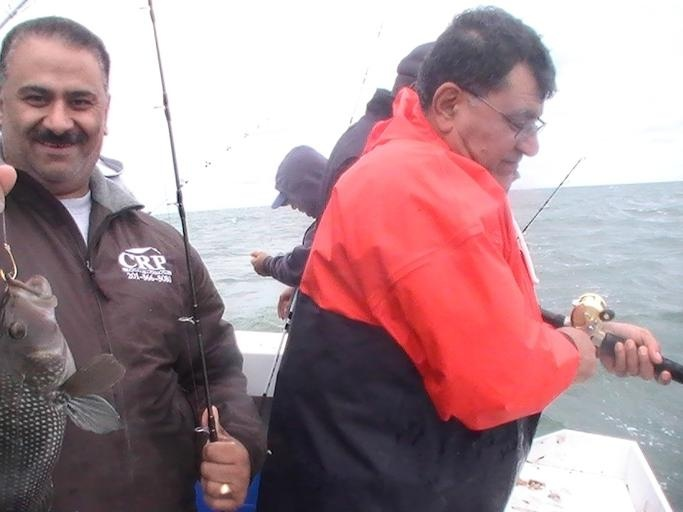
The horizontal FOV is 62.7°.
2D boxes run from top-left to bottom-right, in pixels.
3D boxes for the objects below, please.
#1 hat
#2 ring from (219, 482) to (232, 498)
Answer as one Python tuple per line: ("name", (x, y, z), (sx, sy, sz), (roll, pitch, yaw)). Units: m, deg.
("hat", (-0.233, -0.507, 3.806), (0.349, 0.330, 0.517), (-15, -2, -34))
("ring", (-0.404, 0.812, 1.951), (0.039, 0.028, 0.025), (4, 17, -15))
